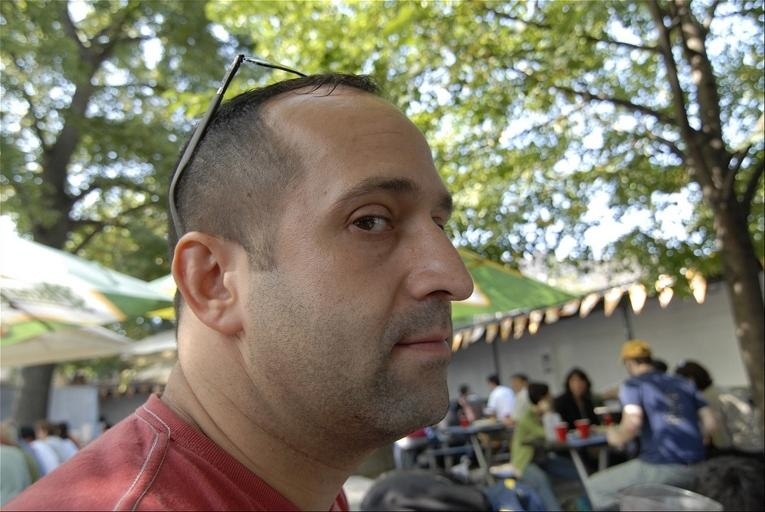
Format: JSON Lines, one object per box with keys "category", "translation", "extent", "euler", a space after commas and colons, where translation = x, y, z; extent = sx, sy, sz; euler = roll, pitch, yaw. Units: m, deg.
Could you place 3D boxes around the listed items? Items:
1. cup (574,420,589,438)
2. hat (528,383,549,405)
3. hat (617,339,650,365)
{"category": "cup", "translation": [1.974, 1.694, 6.617], "extent": [0.167, 0.174, 0.168], "euler": [4, -28, 2]}
{"category": "hat", "translation": [1.754, 1.563, 7.650], "extent": [0.207, 0.233, 0.235], "euler": [11, -30, -19]}
{"category": "hat", "translation": [1.965, 0.740, 5.187], "extent": [0.148, 0.117, 0.203], "euler": [0, 10, 19]}
